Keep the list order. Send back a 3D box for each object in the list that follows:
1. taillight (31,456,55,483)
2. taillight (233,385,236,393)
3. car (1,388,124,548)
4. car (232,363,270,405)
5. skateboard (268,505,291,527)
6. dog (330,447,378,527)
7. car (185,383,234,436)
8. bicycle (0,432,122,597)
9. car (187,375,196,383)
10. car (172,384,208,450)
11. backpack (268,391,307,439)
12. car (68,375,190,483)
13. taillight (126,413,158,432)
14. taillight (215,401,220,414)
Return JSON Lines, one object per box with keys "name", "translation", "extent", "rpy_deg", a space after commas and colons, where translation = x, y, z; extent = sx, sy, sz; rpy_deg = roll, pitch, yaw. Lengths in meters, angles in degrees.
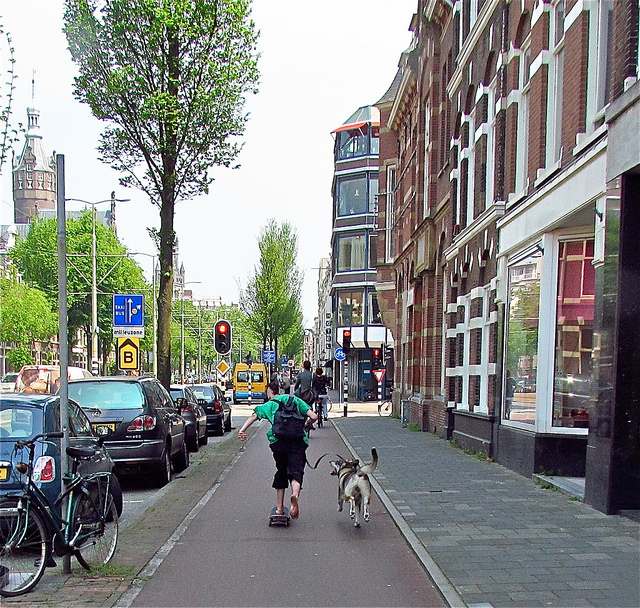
{"name": "taillight", "translation": [-2.109, 1.260, 5.254], "extent": [0.169, 0.192, 0.175], "rpy_deg": [3, -6, -30]}
{"name": "taillight", "translation": [-5.751, 5.724, 46.734], "extent": [0.166, 0.469, 0.553], "rpy_deg": [1, -6, -16]}
{"name": "car", "translation": [-2.230, 1.355, 5.968], "extent": [0.799, 0.993, 1.689], "rpy_deg": [-2, -4, 0]}
{"name": "car", "translation": [-4.867, 5.499, 48.025], "extent": [2.313, 2.903, 4.030], "rpy_deg": [0, -6, -7]}
{"name": "skateboard", "translation": [-0.449, 2.347, 7.640], "extent": [0.252, 0.170, 0.328], "rpy_deg": [0, -7, -4]}
{"name": "dog", "translation": [0.388, 2.066, 7.999], "extent": [0.454, 0.854, 1.125], "rpy_deg": [0, -6, -4]}
{"name": "car", "translation": [-3.428, 3.344, 21.817], "extent": [0.842, 1.000, 2.091], "rpy_deg": [0, 0, 0]}
{"name": "bicycle", "translation": [-1.922, 1.675, 5.417], "extent": [0.533, 0.999, 1.416], "rpy_deg": [-9, -15, 11]}
{"name": "car", "translation": [-14.429, 8.227, 77.323], "extent": [0.760, 0.785, 1.980], "rpy_deg": [-2, 12, -5]}
{"name": "car", "translation": [-3.323, 2.826, 17.197], "extent": [0.853, 1.169, 2.274], "rpy_deg": [-1, -2, 2]}
{"name": "backpack", "translation": [-0.385, 1.307, 8.004], "extent": [0.407, 0.719, 0.395], "rpy_deg": [2, -31, -13]}
{"name": "car", "translation": [-2.916, 1.969, 11.436], "extent": [0.995, 1.161, 2.473], "rpy_deg": [-1, -4, 0]}
{"name": "taillight", "translation": [-2.720, 1.843, 10.600], "extent": [0.318, 0.272, 0.100], "rpy_deg": [-11, 5, -29]}
{"name": "taillight", "translation": [-3.144, 3.177, 21.154], "extent": [0.079, 0.346, 0.258], "rpy_deg": [-1, -5, 15]}
